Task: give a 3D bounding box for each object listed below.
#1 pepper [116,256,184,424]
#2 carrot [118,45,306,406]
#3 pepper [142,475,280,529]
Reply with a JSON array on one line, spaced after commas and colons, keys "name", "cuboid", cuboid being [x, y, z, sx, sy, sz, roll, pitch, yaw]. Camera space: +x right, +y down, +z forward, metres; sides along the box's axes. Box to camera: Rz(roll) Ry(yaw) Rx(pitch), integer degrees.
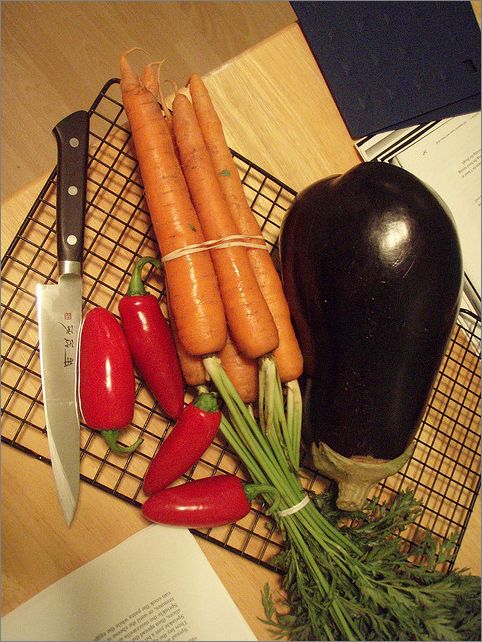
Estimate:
[{"name": "pepper", "cuboid": [-0.121, 0.022, 0.735, 0.072, 0.052, 0.236, -10, 74, -42]}, {"name": "carrot", "cuboid": [-0.079, -0.101, 0.774, 0.189, 0.114, 0.622, -14, 87, -43]}, {"name": "pepper", "cuboid": [-0.059, 0.250, 0.714, 0.159, 0.062, 0.069, 0, 89, -20]}]
